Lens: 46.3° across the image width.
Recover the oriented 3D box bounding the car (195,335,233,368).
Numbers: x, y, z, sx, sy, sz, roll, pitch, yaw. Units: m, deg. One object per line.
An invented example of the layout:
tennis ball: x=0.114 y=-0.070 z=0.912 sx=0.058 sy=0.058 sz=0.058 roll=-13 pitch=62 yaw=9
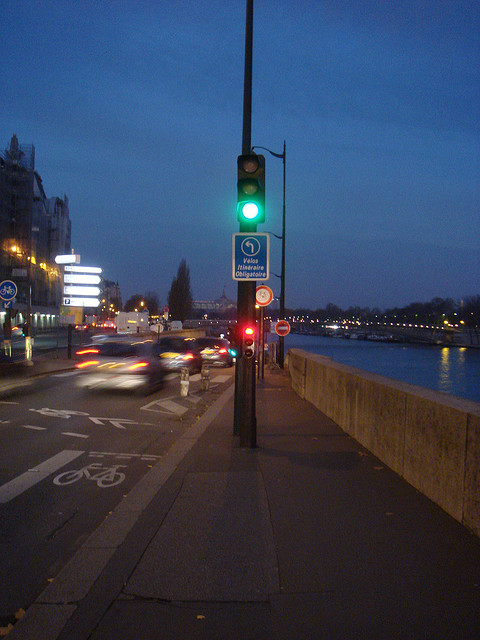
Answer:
car: x=-1.255 y=1.460 z=25.214 sx=0.975 sy=1.351 sz=2.892 roll=1 pitch=4 yaw=7

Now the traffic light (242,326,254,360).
traffic light: x=0.114 y=0.311 z=7.462 sx=0.143 sy=0.424 sz=0.173 roll=0 pitch=2 yaw=-1

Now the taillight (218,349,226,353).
taillight: x=-0.790 y=1.407 z=25.678 sx=0.310 sy=0.160 sz=0.141 roll=1 pitch=2 yaw=14
